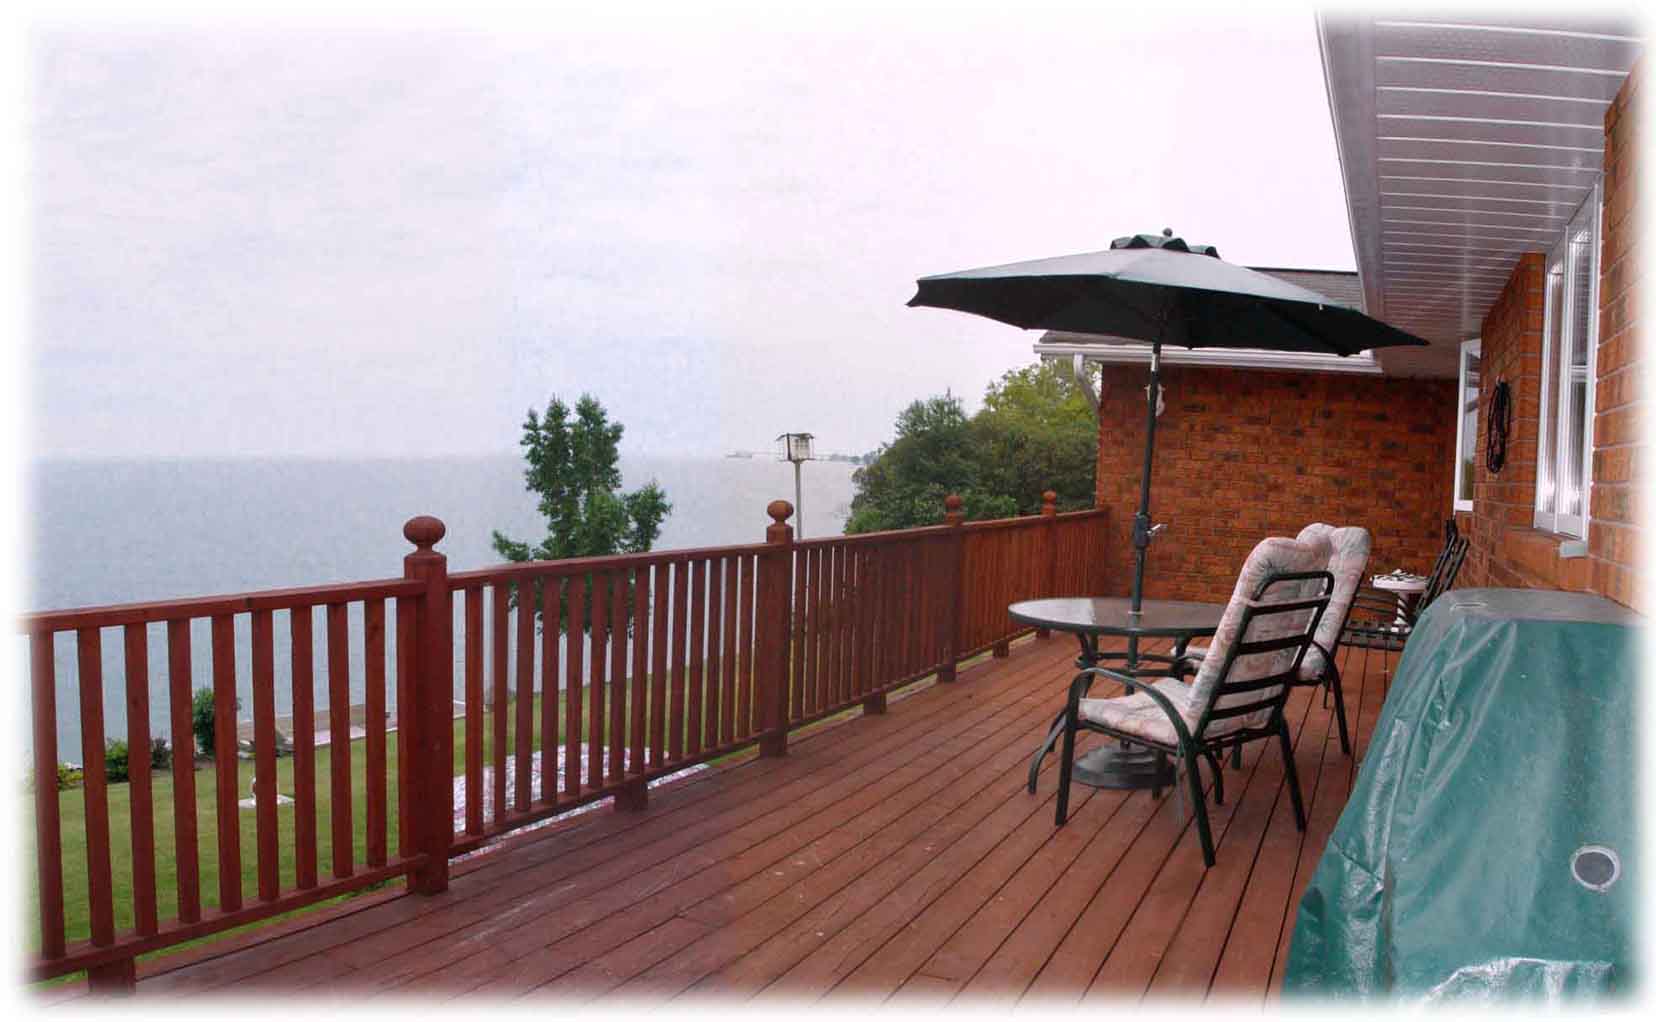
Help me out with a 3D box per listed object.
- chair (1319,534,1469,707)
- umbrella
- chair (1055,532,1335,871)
[{"bbox_3d":[3.721,0.508,7.995,0.897,0.738,0.509,-3,1,26],"label":"chair"},{"bbox_3d":[2.033,-0.302,8.107,3.327,2.974,3.310,-3,8,-42],"label":"umbrella"},{"bbox_3d":[1.859,0.872,6.089,1.405,1.571,1.005,0,13,1],"label":"chair"}]
